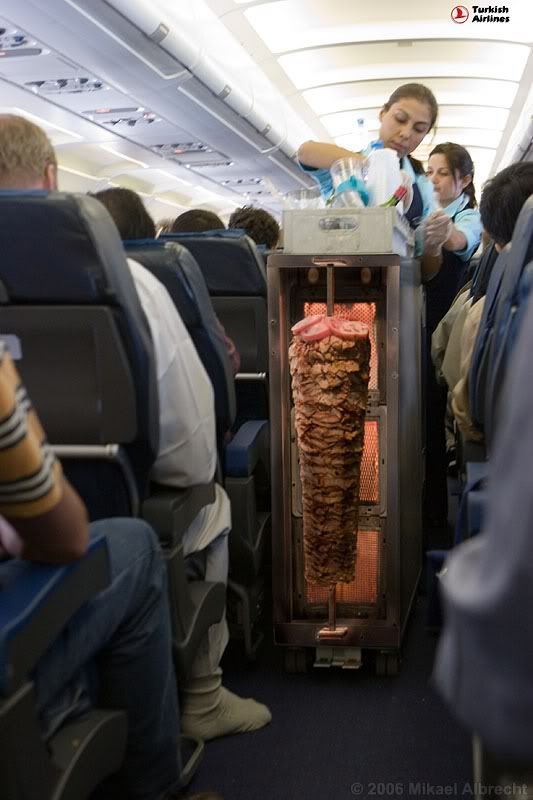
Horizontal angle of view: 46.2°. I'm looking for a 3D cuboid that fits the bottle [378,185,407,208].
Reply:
[{"bbox_3d":[0.349,-0.572,1.746,0.030,0.028,0.116,-2,23,46],"label":"bottle"}]
